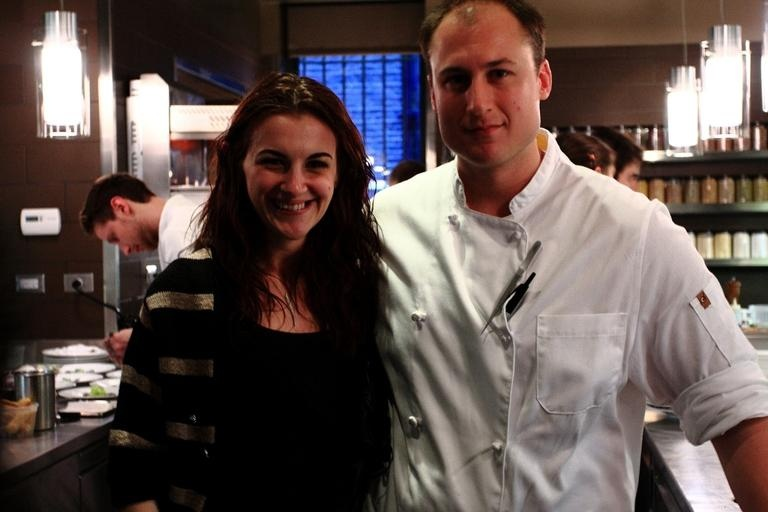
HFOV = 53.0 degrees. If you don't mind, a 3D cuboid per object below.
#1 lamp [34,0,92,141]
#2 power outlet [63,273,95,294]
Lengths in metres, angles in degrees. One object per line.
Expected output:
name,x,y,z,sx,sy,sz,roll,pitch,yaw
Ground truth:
lamp,-1.750,-0.972,4.168,0.272,0.636,0.379,-2,2,-23
power outlet,-1.985,0.169,4.995,0.225,0.151,0.122,1,0,0
